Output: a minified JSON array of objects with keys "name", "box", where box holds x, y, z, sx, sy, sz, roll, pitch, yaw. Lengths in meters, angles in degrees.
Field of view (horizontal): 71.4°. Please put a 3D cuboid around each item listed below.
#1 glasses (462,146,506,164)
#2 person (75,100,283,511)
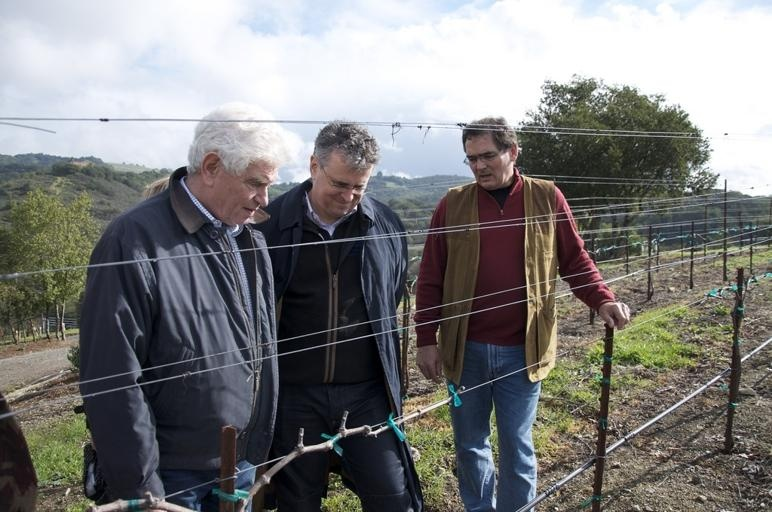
[{"name":"glasses","box":[0.786,-0.802,4.387,0.358,0.098,0.153,0,4,34]},{"name":"person","box":[-1.234,0.339,3.368,1.210,2.603,0.477,-4,5,-34]}]
